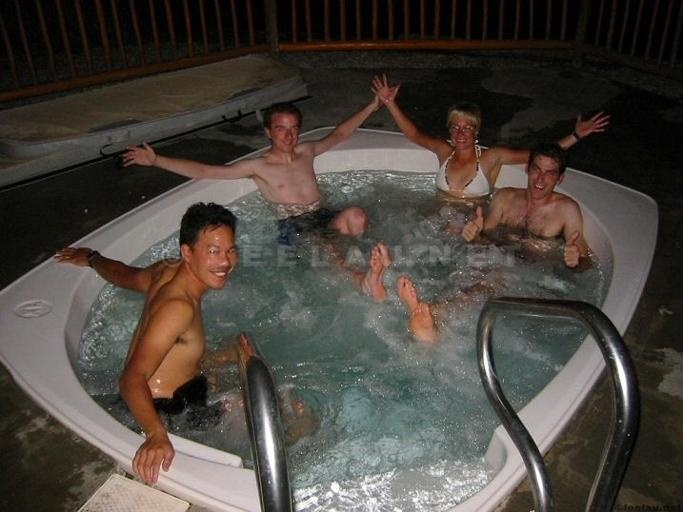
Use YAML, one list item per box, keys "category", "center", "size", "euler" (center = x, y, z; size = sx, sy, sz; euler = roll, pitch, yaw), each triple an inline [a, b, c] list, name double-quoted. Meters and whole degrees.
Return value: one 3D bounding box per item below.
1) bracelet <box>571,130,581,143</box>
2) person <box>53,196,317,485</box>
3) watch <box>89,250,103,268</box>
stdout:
- category: "bracelet"
  center: [1.354, -0.696, 2.620]
  size: [0.023, 0.089, 0.085]
  euler: [-16, 36, 23]
- category: "person"
  center: [-0.567, 0.412, 1.822]
  size: [0.783, 1.049, 1.140]
  euler: [0, 39, -24]
- category: "watch"
  center: [-1.122, 0.021, 2.084]
  size: [0.074, 0.052, 0.078]
  euler: [-29, 51, 41]
